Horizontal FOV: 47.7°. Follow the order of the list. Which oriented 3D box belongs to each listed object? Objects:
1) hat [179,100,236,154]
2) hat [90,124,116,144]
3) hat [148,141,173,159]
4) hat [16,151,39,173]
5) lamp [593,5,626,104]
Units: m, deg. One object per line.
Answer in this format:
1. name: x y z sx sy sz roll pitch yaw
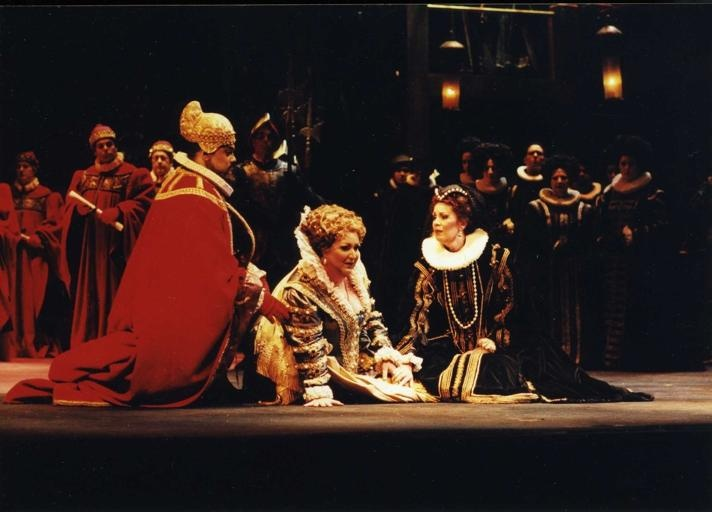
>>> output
1. hat: -0.904 -0.790 4.808 0.341 0.261 0.229 -5 39 -28
2. hat: -1.494 -0.713 4.729 0.107 0.078 0.132 -7 0 -11
3. hat: -1.155 -0.637 4.808 0.102 0.058 0.113 1 5 -3
4. hat: -1.945 -0.564 4.770 0.107 0.106 0.059 -3 10 -4
5. lamp: 1.544 -1.226 4.901 0.172 0.567 0.046 3 0 15
